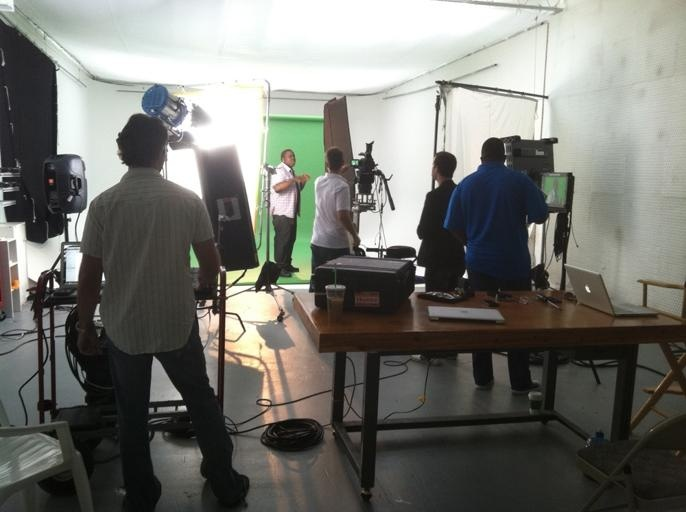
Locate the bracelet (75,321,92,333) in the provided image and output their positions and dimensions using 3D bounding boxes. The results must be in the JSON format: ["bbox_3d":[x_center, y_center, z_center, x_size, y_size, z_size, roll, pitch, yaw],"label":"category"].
[{"bbox_3d":[-1.363,0.380,2.969,0.094,0.051,0.128,2,0,-9],"label":"bracelet"}]

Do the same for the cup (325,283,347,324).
[{"bbox_3d":[-0.038,0.243,2.951,0.151,0.216,0.155,1,-3,0],"label":"cup"}]

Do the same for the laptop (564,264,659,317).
[{"bbox_3d":[1.583,0.220,3.287,0.328,0.225,0.364,-1,6,-8],"label":"laptop"}]

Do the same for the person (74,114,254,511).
[{"bbox_3d":[-0.945,0.334,2.897,0.787,2.065,0.573,-6,16,-27],"label":"person"}]

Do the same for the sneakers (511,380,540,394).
[{"bbox_3d":[1.373,0.992,4.173,0.234,0.095,0.088,-7,9,-12],"label":"sneakers"}]

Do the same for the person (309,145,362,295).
[{"bbox_3d":[-0.050,-0.376,5.184,0.462,1.235,0.887,1,14,-3],"label":"person"}]
